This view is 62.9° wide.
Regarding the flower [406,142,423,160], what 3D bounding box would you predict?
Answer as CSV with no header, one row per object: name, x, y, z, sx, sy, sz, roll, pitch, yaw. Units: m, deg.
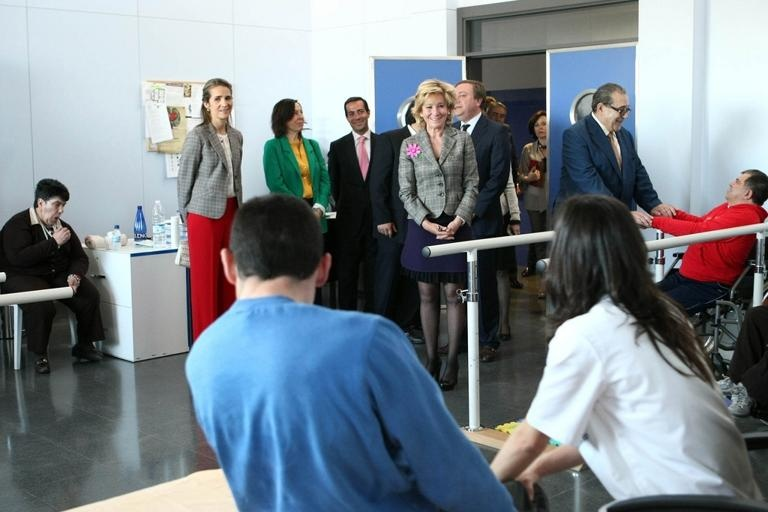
flower,0.180,-0.674,4.011,0.082,0.086,0.034,12,-4,21

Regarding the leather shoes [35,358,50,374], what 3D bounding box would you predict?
leather shoes,-2.524,0.812,4.653,0.087,0.101,0.147,-14,15,-36

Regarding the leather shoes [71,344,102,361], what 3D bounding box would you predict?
leather shoes,-2.326,0.766,4.922,0.272,0.137,0.103,2,15,19

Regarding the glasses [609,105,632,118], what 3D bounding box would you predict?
glasses,1.638,-1.028,4.419,0.129,0.045,0.127,23,19,35

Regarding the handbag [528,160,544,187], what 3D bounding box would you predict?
handbag,1.697,-0.941,7.084,0.080,0.250,0.238,5,-4,-35

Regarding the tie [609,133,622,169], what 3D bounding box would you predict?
tie,1.664,-0.773,4.563,0.141,0.245,0.055,-12,1,-36

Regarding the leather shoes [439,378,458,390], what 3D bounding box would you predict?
leather shoes,0.396,0.839,4.079,0.049,0.058,0.142,-1,-6,23

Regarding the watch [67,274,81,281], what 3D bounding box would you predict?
watch,-2.383,0.163,4.841,0.046,0.056,0.062,32,-4,46

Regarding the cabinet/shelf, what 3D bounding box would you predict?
cabinet/shelf,-2.112,0.373,5.391,0.728,1.218,1.208,-1,1,-35
